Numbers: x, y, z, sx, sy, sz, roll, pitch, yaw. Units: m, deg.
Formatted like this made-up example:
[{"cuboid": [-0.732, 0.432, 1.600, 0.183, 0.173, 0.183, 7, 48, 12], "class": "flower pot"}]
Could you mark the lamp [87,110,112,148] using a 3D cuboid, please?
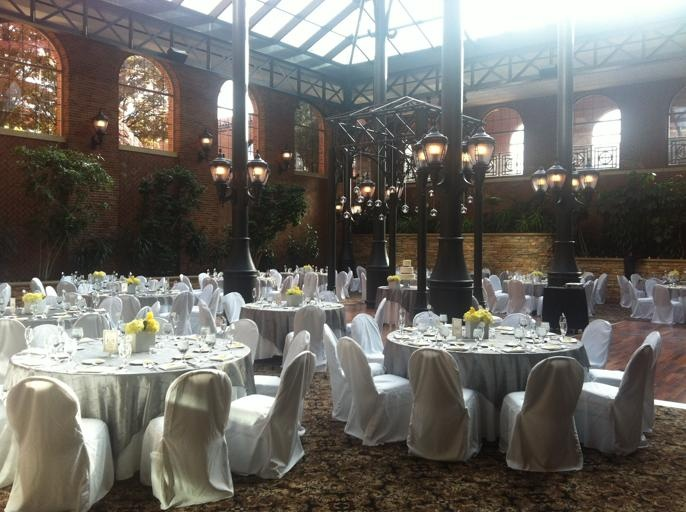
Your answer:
[{"cuboid": [-6.052, -3.157, 15.118, 0.502, 0.926, 0.438, -6, 13, -37], "class": "lamp"}]

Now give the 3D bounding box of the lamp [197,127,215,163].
[{"cuboid": [-3.934, -3.219, 17.530, 0.348, 0.920, 0.622, 6, 11, 24], "class": "lamp"}]

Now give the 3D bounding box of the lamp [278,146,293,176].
[{"cuboid": [-1.887, -3.180, 20.027, 0.445, 0.856, 0.711, 1, 11, -6], "class": "lamp"}]
